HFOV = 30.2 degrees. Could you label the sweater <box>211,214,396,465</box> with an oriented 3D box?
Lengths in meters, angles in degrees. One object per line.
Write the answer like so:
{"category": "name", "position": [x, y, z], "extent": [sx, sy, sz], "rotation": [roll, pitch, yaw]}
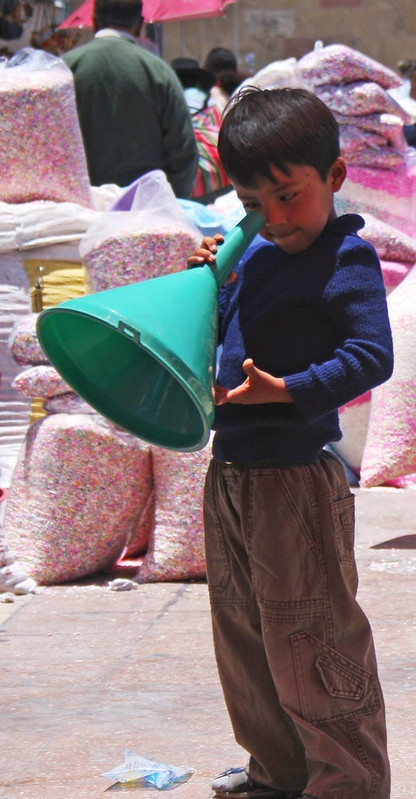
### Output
{"category": "sweater", "position": [0.119, -0.076, 1.020], "extent": [0.206, 0.328, 0.309], "rotation": [-4, 4, -19]}

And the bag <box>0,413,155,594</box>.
{"category": "bag", "position": [-0.366, 0.304, 2.170], "extent": [0.399, 0.419, 0.250], "rotation": [20, 1, -7]}

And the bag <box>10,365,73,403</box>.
{"category": "bag", "position": [-0.515, -0.043, 2.363], "extent": [0.192, 0.109, 0.210], "rotation": [1, 1, 2]}

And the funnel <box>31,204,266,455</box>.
{"category": "funnel", "position": [0.018, -0.103, 1.035], "extent": [0.371, 0.214, 0.230], "rotation": [-40, 30, -30]}
